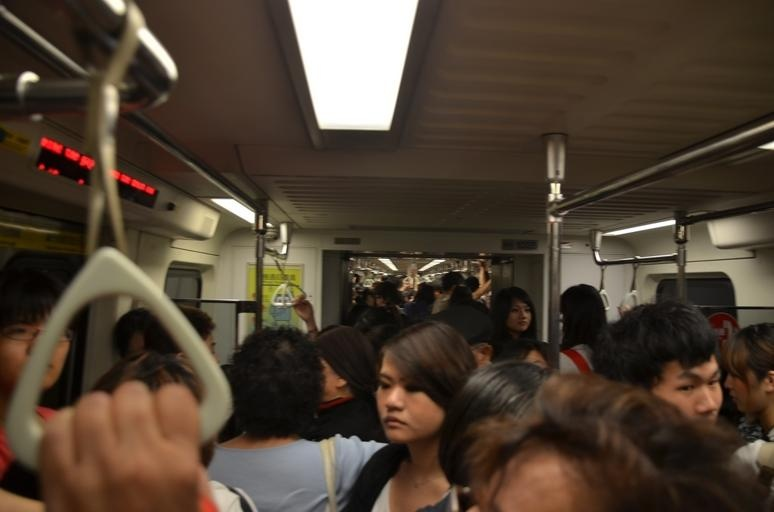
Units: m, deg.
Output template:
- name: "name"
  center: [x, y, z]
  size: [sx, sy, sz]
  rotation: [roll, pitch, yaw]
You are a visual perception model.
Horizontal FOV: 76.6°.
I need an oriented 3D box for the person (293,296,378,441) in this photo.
- name: "person"
  center: [-0.221, 0.667, 2.737]
  size: [0.478, 0.752, 0.642]
  rotation: [2, -24, -1]
